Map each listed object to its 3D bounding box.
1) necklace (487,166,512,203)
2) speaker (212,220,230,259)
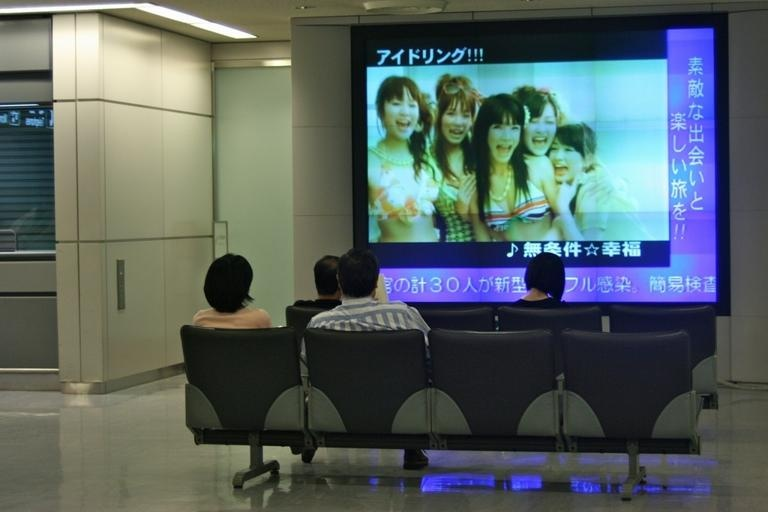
[{"bbox_3d":[1.340,-0.831,8.773,0.262,0.346,0.118,9,2,30],"label":"necklace"},{"bbox_3d":[-2.175,-0.234,10.278,0.212,0.470,0.193,-2,6,-6],"label":"speaker"}]
